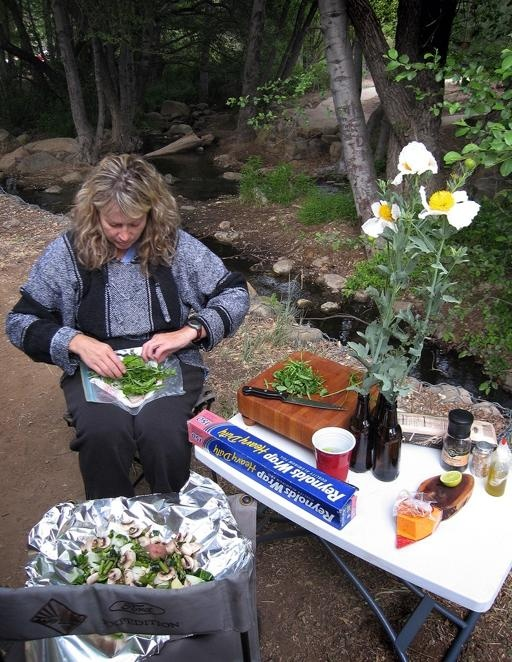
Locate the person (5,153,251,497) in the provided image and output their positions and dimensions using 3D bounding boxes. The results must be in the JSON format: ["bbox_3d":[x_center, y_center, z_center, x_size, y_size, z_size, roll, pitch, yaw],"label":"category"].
[{"bbox_3d":[-0.584,-0.066,2.245,0.898,1.299,0.926,10,24,14],"label":"person"}]

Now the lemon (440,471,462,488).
[{"bbox_3d":[0.626,0.473,1.685,0.055,0.020,0.056,-30,19,-33],"label":"lemon"}]

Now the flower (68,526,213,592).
[{"bbox_3d":[-0.305,0.606,1.390,0.319,0.092,0.218,1,11,-1],"label":"flower"}]
